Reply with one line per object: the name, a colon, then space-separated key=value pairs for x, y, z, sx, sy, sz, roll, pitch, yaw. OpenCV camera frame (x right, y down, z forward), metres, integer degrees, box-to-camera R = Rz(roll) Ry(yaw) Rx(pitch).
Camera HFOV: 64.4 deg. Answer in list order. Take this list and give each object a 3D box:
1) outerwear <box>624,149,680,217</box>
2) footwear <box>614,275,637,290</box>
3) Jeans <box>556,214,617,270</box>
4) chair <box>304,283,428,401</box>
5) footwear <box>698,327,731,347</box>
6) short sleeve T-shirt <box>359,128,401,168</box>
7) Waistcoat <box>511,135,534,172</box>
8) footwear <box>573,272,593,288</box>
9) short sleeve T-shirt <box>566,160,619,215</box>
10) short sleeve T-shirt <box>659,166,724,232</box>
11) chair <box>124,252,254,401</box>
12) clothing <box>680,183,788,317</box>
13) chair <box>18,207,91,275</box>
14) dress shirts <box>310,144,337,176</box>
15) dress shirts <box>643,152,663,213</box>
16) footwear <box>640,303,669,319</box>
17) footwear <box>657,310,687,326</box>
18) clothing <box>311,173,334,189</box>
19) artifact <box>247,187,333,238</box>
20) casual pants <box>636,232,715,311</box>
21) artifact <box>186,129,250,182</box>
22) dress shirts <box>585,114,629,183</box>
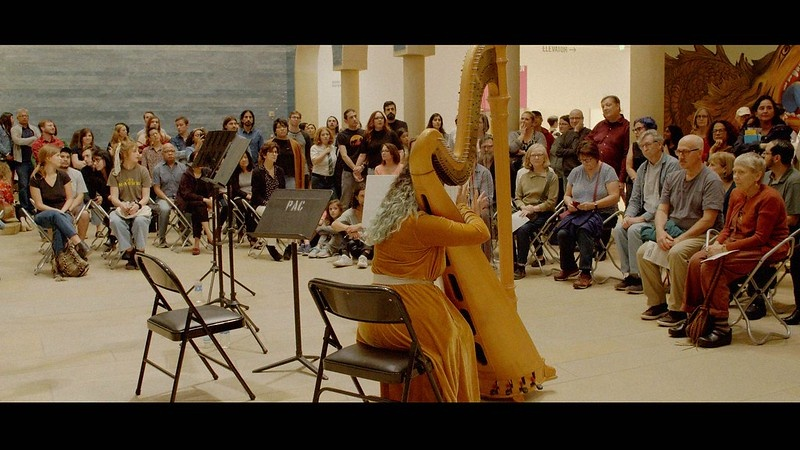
outerwear: x=3.476 y=-0.528 z=8.735 sx=0.752 sy=0.928 sz=0.687 roll=-4 pitch=10 yaw=-13
footwear: x=3.161 y=0.809 z=8.978 sx=0.336 sy=0.133 sz=0.137 roll=-7 pitch=3 yaw=-12
Jeans: x=2.745 y=0.215 z=9.648 sx=0.970 sy=0.906 sz=0.745 roll=1 pitch=1 yaw=-27
chair: x=-0.229 y=1.129 z=5.959 sx=1.013 sy=1.293 sz=1.087 roll=2 pitch=4 yaw=26
footwear: x=3.619 y=1.286 z=7.263 sx=0.408 sy=0.191 sz=0.115 roll=-4 pitch=13 yaw=-14
short sleeve T-shirt: x=-0.382 y=-1.358 z=11.275 sx=0.966 sy=0.941 sz=0.533 roll=-1 pitch=0 yaw=2
Waistcoat: x=2.295 y=-1.279 z=11.203 sx=0.406 sy=0.626 sz=0.536 roll=12 pitch=7 yaw=-10
footwear: x=2.630 y=0.807 z=9.161 sx=0.148 sy=0.152 sz=0.379 roll=-1 pitch=-3 yaw=29
short sleeve T-shirt: x=2.830 y=-0.533 z=9.321 sx=0.860 sy=0.800 sz=0.491 roll=5 pitch=10 yaw=43
short sleeve T-shirt: x=3.761 y=-0.385 z=8.138 sx=0.486 sy=0.739 sz=0.893 roll=-6 pitch=10 yaw=-33
chair: x=-2.401 y=0.925 z=6.896 sx=1.119 sy=1.502 sz=1.888 roll=-7 pitch=13 yaw=-24
clothing: x=3.945 y=0.280 z=7.414 sx=1.137 sy=1.515 sz=0.559 roll=-9 pitch=14 yaw=-28
chair: x=-5.517 y=0.260 z=10.255 sx=0.970 sy=1.277 sz=0.542 roll=6 pitch=18 yaw=-7
dress shirts: x=-1.496 y=-1.263 z=12.271 sx=0.672 sy=0.638 sz=0.412 roll=-3 pitch=0 yaw=-41
dress shirts: x=3.470 y=-0.590 z=8.710 sx=0.249 sy=0.826 sz=0.118 roll=7 pitch=24 yaw=26
footwear: x=3.200 y=1.089 z=7.997 sx=0.386 sy=0.152 sz=0.146 roll=0 pitch=0 yaw=-17
footwear: x=3.331 y=1.137 z=7.770 sx=0.395 sy=0.156 sz=0.153 roll=1 pitch=-1 yaw=-21
clothing: x=-1.565 y=-0.870 z=12.453 sx=0.523 sy=0.435 sz=0.350 roll=0 pitch=6 yaw=-13
artifact: x=-1.191 y=-0.130 z=7.090 sx=0.783 sy=0.524 sz=0.543 roll=6 pitch=14 yaw=32
casual pants: x=3.424 y=0.595 z=7.991 sx=0.620 sy=0.842 sz=0.626 roll=6 pitch=-7 yaw=-33
artifact: x=-2.212 y=-0.862 z=7.907 sx=0.624 sy=0.900 sz=0.226 roll=25 pitch=-2 yaw=33
dress shirts: x=3.461 y=-1.235 z=10.617 sx=0.419 sy=1.187 sz=0.830 roll=-14 pitch=25 yaw=-36
